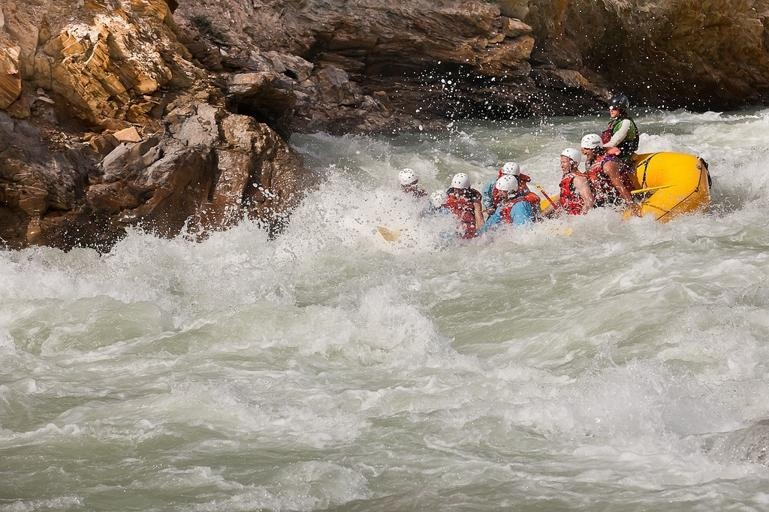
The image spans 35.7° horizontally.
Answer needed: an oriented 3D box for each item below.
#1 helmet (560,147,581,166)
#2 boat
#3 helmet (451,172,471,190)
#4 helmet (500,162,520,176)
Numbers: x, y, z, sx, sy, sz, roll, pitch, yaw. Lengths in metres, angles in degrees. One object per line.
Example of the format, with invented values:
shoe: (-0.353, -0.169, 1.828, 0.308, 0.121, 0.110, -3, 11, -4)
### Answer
helmet: (3.643, -1.940, 23.520, 0.452, 0.288, 0.297, -16, 23, -22)
boat: (5.401, -1.338, 22.969, 1.583, 1.210, 1.272, -3, 11, 20)
helmet: (1.494, -1.430, 23.998, 0.349, 0.318, 0.415, 0, -28, 10)
helmet: (2.481, -1.680, 23.544, 0.286, 0.233, 0.342, 12, 32, 17)
